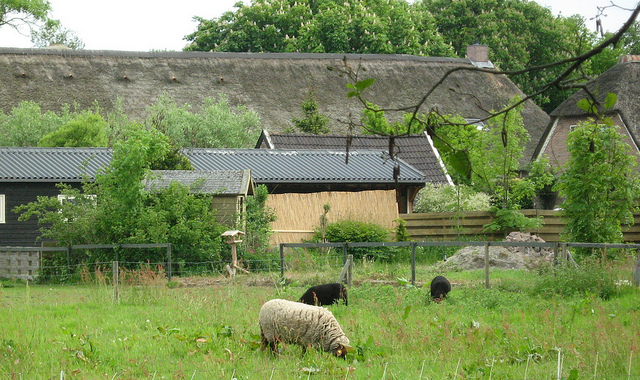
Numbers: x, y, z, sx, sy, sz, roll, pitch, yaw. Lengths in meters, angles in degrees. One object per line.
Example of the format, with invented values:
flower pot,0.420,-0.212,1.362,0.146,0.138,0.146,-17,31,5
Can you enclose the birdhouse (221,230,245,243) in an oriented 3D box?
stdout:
birdhouse,-4.915,2.568,69.279,0.947,0.789,1.617,-2,-9,13

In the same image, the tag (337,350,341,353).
tag,0.976,7.869,60.306,0.135,0.134,0.073,1,5,1
